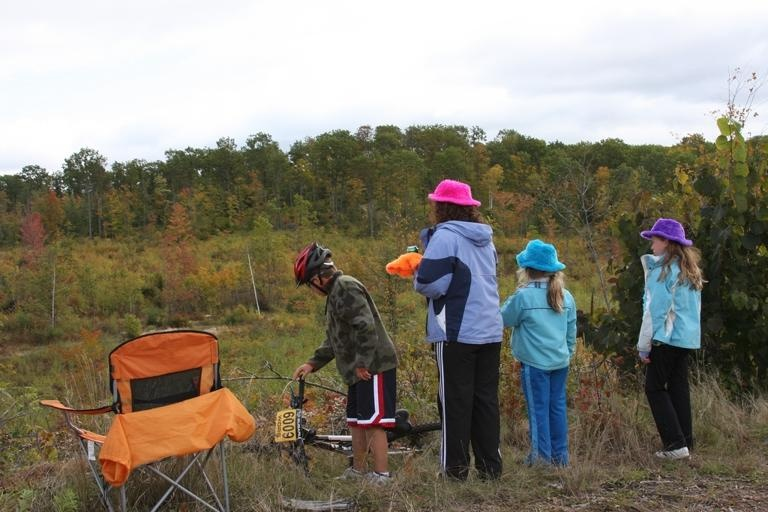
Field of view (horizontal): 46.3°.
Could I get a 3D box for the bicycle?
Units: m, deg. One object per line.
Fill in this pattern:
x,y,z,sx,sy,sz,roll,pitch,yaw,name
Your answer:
-1.153,2.405,13.740,1.191,1.422,2.159,-1,-8,-33,bicycle

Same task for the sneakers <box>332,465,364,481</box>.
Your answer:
-0.496,3.337,13.888,0.318,0.143,0.193,12,-17,-23,sneakers

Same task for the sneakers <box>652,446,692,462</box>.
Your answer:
4.556,3.075,14.120,0.515,0.279,0.208,1,-7,8,sneakers

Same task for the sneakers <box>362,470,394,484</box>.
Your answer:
-0.080,3.348,13.740,0.438,0.220,0.178,3,-5,12,sneakers

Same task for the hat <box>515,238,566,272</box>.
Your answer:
2.470,0.016,14.189,0.533,0.348,0.587,4,8,-27,hat

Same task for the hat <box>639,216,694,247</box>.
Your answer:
4.542,-0.521,14.280,0.576,0.260,0.516,21,-8,-8,hat

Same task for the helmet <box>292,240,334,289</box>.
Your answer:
-1.153,0.110,14.187,0.460,0.694,0.498,40,-2,-6,helmet

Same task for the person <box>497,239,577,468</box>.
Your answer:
2.485,1.496,14.199,1.101,3.534,0.543,-2,1,6,person

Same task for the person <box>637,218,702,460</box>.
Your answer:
4.523,1.283,14.216,0.985,3.770,0.412,-2,1,11,person
